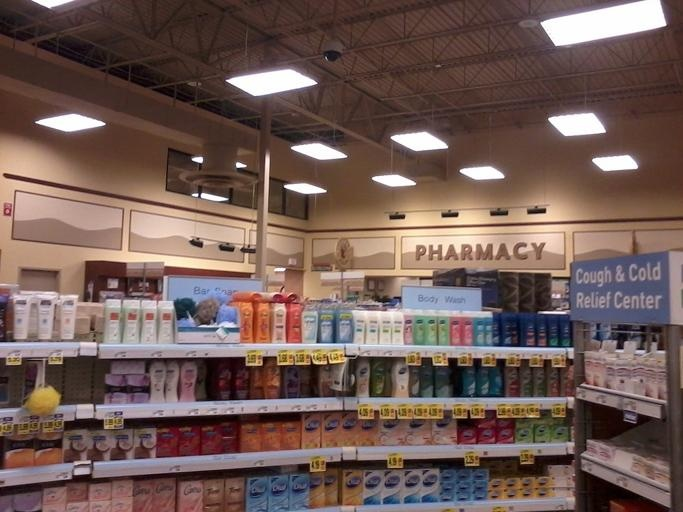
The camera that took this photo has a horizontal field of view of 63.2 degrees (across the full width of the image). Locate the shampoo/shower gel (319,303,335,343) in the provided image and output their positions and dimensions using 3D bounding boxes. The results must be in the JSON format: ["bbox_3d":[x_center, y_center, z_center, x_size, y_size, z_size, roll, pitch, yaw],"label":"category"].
[{"bbox_3d":[-0.126,0.605,4.703,0.158,0.249,0.154,4,13,-9],"label":"shampoo/shower gel"}]

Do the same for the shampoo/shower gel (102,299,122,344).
[{"bbox_3d":[-1.731,0.502,4.227,0.126,0.261,0.308,1,14,-22],"label":"shampoo/shower gel"}]

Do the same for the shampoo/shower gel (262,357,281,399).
[{"bbox_3d":[-0.572,1.004,4.545,0.135,0.299,0.127,3,13,-14],"label":"shampoo/shower gel"}]

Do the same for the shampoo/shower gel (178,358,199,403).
[{"bbox_3d":[-1.198,0.980,4.365,0.133,0.291,0.197,3,13,-15],"label":"shampoo/shower gel"}]

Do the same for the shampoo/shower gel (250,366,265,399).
[{"bbox_3d":[-0.684,1.031,4.523,0.104,0.249,0.088,0,14,-26],"label":"shampoo/shower gel"}]

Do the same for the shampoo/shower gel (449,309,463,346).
[{"bbox_3d":[1.006,0.650,4.938,0.106,0.262,0.121,3,13,-13],"label":"shampoo/shower gel"}]

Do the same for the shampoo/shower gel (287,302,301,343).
[{"bbox_3d":[-0.392,0.572,4.582,0.133,0.391,0.293,0,-2,3],"label":"shampoo/shower gel"}]

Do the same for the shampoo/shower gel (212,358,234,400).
[{"bbox_3d":[-0.950,0.998,4.470,0.160,0.301,0.159,4,13,-12],"label":"shampoo/shower gel"}]

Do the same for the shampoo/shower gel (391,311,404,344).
[{"bbox_3d":[0.485,0.632,4.815,0.122,0.243,0.167,5,13,-6],"label":"shampoo/shower gel"}]

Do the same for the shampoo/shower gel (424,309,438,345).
[{"bbox_3d":[0.787,0.640,4.887,0.116,0.254,0.144,4,13,-10],"label":"shampoo/shower gel"}]

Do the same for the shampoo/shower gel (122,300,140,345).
[{"bbox_3d":[-1.591,0.520,4.232,0.130,0.258,0.170,1,14,-21],"label":"shampoo/shower gel"}]

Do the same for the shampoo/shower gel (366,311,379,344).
[{"bbox_3d":[0.262,0.617,4.759,0.116,0.242,0.121,3,13,-15],"label":"shampoo/shower gel"}]

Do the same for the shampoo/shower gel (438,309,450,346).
[{"bbox_3d":[0.896,0.647,4.912,0.125,0.255,0.133,5,13,-7],"label":"shampoo/shower gel"}]

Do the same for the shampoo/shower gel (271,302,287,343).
[{"bbox_3d":[-0.507,0.555,4.568,0.136,0.284,0.167,4,13,-11],"label":"shampoo/shower gel"}]

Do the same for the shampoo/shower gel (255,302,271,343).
[{"bbox_3d":[-0.635,0.545,4.526,0.146,0.297,0.164,4,13,-10],"label":"shampoo/shower gel"}]

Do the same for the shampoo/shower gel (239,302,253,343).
[{"bbox_3d":[-0.758,0.541,4.488,0.121,0.283,0.193,4,13,-10],"label":"shampoo/shower gel"}]

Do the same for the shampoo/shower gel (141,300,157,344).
[{"bbox_3d":[-1.474,0.508,4.280,0.123,0.273,0.212,2,14,-19],"label":"shampoo/shower gel"}]

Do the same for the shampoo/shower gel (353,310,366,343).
[{"bbox_3d":[0.149,0.612,4.759,0.112,0.251,0.146,4,13,-9],"label":"shampoo/shower gel"}]

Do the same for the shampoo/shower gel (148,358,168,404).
[{"bbox_3d":[-1.401,0.964,4.266,0.126,0.286,0.137,2,14,-18],"label":"shampoo/shower gel"}]

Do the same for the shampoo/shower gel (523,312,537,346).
[{"bbox_3d":[1.696,0.686,5.081,0.143,0.273,0.109,4,13,-11],"label":"shampoo/shower gel"}]

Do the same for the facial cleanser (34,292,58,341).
[{"bbox_3d":[-2.132,0.462,4.041,0.134,0.312,0.188,0,15,-28],"label":"facial cleanser"}]
